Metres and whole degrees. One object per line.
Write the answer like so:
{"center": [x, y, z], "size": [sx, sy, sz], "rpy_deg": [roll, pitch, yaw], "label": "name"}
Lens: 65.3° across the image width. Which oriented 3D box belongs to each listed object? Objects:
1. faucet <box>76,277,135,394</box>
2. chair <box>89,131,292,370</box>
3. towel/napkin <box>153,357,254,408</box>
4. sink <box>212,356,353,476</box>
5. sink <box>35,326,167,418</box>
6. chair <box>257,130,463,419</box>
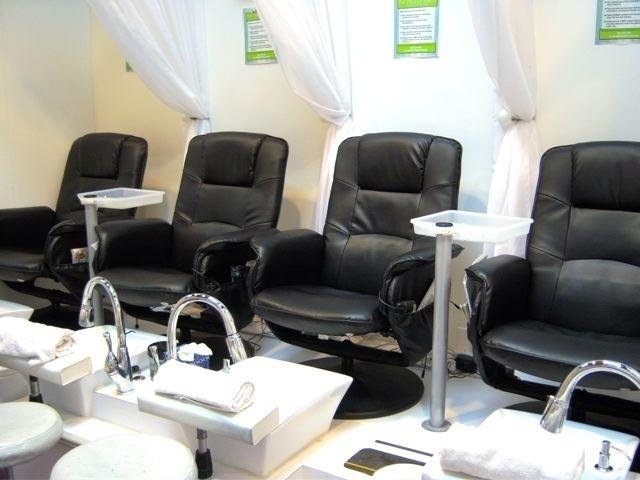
{"center": [-0.794, 0.338, 1.862], "size": [0.158, 0.468, 0.325], "rpy_deg": [-5, 10, -22], "label": "faucet"}
{"center": [-0.729, 0.047, 2.876], "size": [1.043, 1.236, 0.987], "rpy_deg": [8, 12, 36], "label": "chair"}
{"center": [-0.357, 0.397, 1.525], "size": [0.233, 0.080, 0.137], "rpy_deg": [10, 14, 23], "label": "towel/napkin"}
{"center": [-0.134, 0.583, 1.763], "size": [0.381, 0.198, 0.440], "rpy_deg": [6, 8, 35], "label": "sink"}
{"center": [-0.893, 0.456, 2.064], "size": [0.365, 0.226, 0.370], "rpy_deg": [6, 8, 29], "label": "sink"}
{"center": [0.003, 0.062, 2.890], "size": [1.182, 1.560, 1.312], "rpy_deg": [4, 8, 36], "label": "chair"}
